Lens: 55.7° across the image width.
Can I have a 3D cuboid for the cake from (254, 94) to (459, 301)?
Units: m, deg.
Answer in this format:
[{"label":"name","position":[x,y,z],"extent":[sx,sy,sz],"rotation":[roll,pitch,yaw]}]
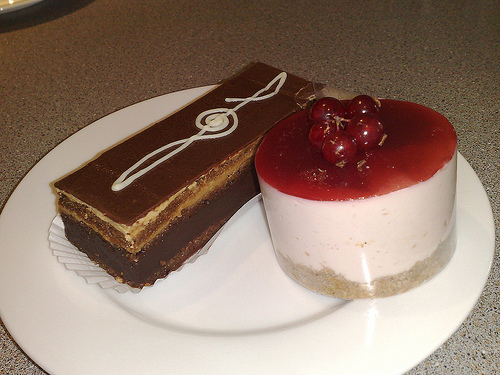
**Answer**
[{"label":"cake","position":[0.238,0.043,1.317],"extent":[0.572,0.307,0.526],"rotation":[-23,36,-16]}]
